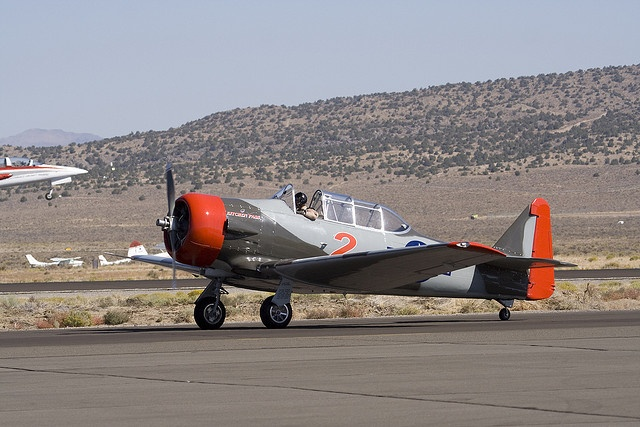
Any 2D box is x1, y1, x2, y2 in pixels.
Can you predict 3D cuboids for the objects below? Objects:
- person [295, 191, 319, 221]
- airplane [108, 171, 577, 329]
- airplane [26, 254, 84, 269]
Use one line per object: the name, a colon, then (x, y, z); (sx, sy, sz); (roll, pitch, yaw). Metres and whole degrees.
person: (-0.400, -0.165, 20.918); (0.931, 0.785, 0.334); (6, -49, -32)
airplane: (0.906, 1.195, 20.169); (7.439, 2.283, 8.698); (6, -7, -24)
airplane: (-27.959, 5.103, 74.727); (5.383, 1.407, 6.239); (1, 0, -19)
